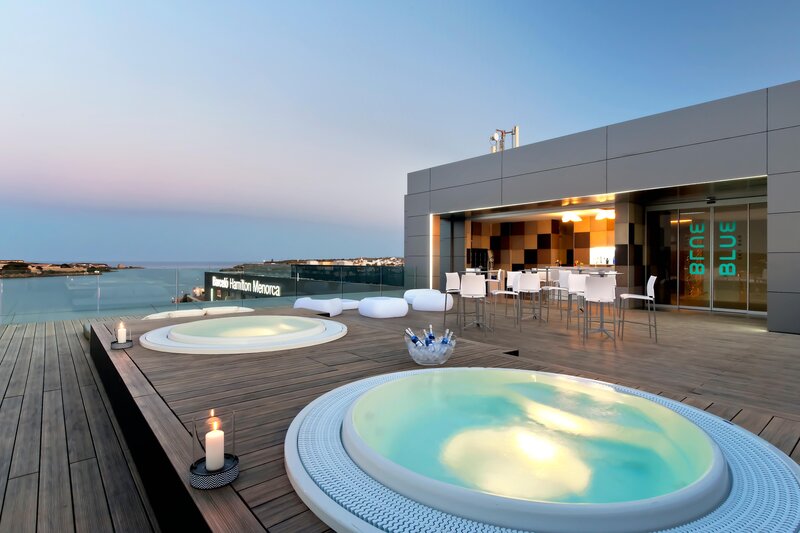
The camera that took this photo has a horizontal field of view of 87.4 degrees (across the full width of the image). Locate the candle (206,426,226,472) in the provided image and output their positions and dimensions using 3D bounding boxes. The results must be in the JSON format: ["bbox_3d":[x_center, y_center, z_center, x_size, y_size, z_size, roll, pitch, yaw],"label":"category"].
[{"bbox_3d":[-1.219,1.214,2.778,0.113,0.278,0.080,-3,3,-23],"label":"candle"}]

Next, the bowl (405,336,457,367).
[{"bbox_3d":[0.328,0.913,4.556,0.346,0.149,0.355,0,-3,0],"label":"bowl"}]
